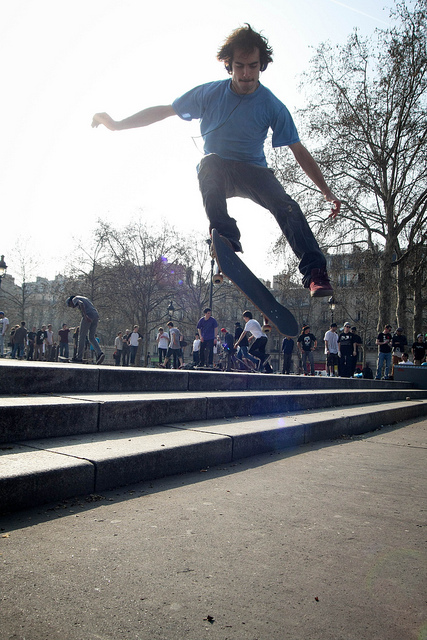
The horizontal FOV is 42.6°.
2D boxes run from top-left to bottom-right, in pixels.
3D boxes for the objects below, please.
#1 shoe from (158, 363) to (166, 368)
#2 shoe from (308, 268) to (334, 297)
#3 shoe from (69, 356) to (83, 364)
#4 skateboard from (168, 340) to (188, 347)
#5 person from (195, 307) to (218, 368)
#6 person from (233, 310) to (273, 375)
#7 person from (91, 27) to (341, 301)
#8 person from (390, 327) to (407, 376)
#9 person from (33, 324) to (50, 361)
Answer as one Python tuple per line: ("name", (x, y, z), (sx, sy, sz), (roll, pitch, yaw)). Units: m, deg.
("shoe", (-1.242, 1.086, 13.066), (0.090, 0.124, 0.272), (4, 8, -28))
("shoe", (0.851, -0.293, 4.344), (0.188, 0.226, 0.508), (10, 1, 9))
("shoe", (-2.306, 0.661, 9.191), (0.203, 0.087, 0.852), (11, 1, -15))
("skateboard", (-0.988, 0.627, 14.907), (0.435, 0.142, 0.500), (0, -4, 30))
("person", (-0.153, 0.389, 12.088), (0.486, 1.413, 0.369), (0, 14, 2))
("person", (0.779, 0.335, 10.757), (0.627, 1.114, 0.526), (-7, 10, 9))
("person", (0.259, -1.154, 4.304), (1.369, 2.042, 1.077), (3, -16, -21))
("person", (5.205, 0.895, 15.346), (0.378, 1.409, 0.472), (16, -14, -39))
("person", (-6.271, 0.917, 19.957), (0.514, 1.270, 2.168), (9, 1, -18))
